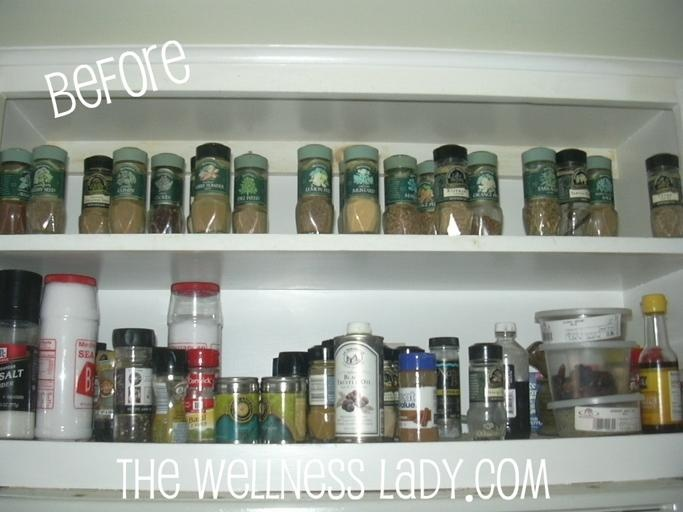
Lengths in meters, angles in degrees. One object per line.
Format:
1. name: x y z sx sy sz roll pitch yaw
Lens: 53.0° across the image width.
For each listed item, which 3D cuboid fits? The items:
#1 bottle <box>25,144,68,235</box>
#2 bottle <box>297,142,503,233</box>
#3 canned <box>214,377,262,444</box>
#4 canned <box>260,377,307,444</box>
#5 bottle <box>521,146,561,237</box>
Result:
1. bottle: -0.675 -0.146 1.588 0.084 0.212 0.094 7 -15 -35
2. bottle: 0.153 -0.143 1.616 0.450 0.220 0.127 -2 -12 1
3. canned: -0.223 0.329 1.462 0.117 0.198 0.119 1 -15 -6
4. canned: -0.127 0.334 1.488 0.123 0.200 0.121 -1 -17 0
5. bottle: 0.465 -0.145 1.598 0.086 0.217 0.092 -1 -12 0
